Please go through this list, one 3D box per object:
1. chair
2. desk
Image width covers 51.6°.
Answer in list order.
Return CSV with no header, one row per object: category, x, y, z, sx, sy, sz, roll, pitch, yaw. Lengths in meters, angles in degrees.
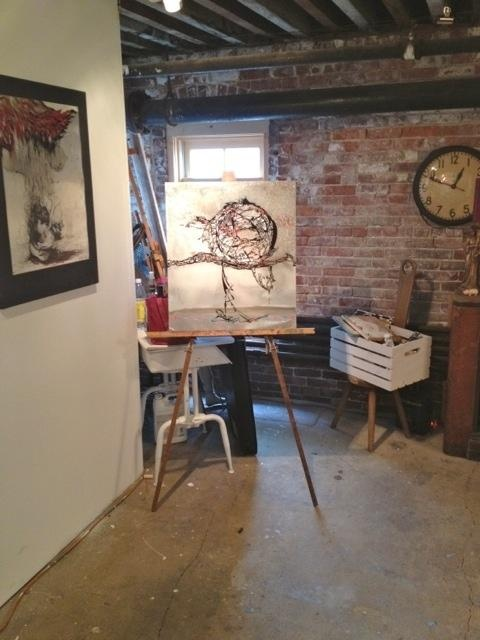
chair,0.867,0.193,3.278,0.524,1.148,0.678,3,12,18
desk,-0.288,0.475,3.257,0.751,1.140,0.770,-1,5,-4
